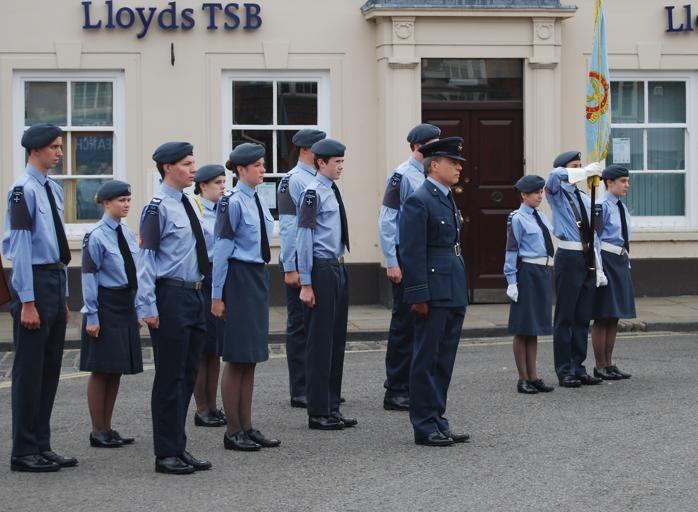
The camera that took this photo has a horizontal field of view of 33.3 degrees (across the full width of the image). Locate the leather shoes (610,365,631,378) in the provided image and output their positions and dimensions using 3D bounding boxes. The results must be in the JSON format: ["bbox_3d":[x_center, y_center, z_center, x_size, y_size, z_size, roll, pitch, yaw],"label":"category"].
[{"bbox_3d":[2.945,1.244,12.746,0.095,0.118,0.275,-4,8,-38],"label":"leather shoes"}]

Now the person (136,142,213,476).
[{"bbox_3d":[-1.514,0.426,10.157,0.607,2.786,0.735,-2,8,-6],"label":"person"}]

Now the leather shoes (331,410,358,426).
[{"bbox_3d":[-0.042,1.566,11.334,0.304,0.138,0.103,2,4,3],"label":"leather shoes"}]

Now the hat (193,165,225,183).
[{"bbox_3d":[-1.379,-0.829,11.573,0.237,0.075,0.210,-13,9,-15],"label":"hat"}]

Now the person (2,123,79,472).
[{"bbox_3d":[-2.718,0.350,10.163,0.593,2.942,0.638,-3,8,-13],"label":"person"}]

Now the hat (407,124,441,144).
[{"bbox_3d":[0.736,-1.234,11.806,0.223,0.097,0.251,-15,8,-37],"label":"hat"}]

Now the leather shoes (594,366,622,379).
[{"bbox_3d":[2.812,1.253,12.672,0.282,0.110,0.109,3,3,8],"label":"leather shoes"}]

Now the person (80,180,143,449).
[{"bbox_3d":[-2.228,0.523,10.819,0.567,2.380,0.610,-3,8,-12],"label":"person"}]

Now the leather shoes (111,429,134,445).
[{"bbox_3d":[-2.096,1.665,10.828,0.265,0.110,0.089,1,5,-1],"label":"leather shoes"}]

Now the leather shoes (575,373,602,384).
[{"bbox_3d":[2.575,1.305,12.543,0.285,0.124,0.103,0,5,4],"label":"leather shoes"}]

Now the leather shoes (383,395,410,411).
[{"bbox_3d":[0.484,1.489,11.901,0.239,0.099,0.125,-4,-1,19],"label":"leather shoes"}]

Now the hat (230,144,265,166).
[{"bbox_3d":[-0.922,-0.983,10.815,0.212,0.083,0.260,8,27,41],"label":"hat"}]

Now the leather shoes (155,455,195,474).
[{"bbox_3d":[-1.501,1.783,10.070,0.271,0.113,0.147,-1,-2,14],"label":"leather shoes"}]

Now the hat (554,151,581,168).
[{"bbox_3d":[2.381,-1.064,12.759,0.252,0.092,0.237,-14,5,14],"label":"hat"}]

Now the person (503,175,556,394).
[{"bbox_3d":[1.901,0.279,12.337,0.517,2.218,0.671,0,8,9],"label":"person"}]

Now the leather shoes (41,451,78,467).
[{"bbox_3d":[-2.525,1.764,10.233,0.318,0.124,0.122,6,8,-4],"label":"leather shoes"}]

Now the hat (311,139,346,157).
[{"bbox_3d":[-0.218,-1.054,11.379,0.281,0.109,0.302,-2,11,-15],"label":"hat"}]

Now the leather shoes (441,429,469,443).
[{"bbox_3d":[0.980,1.631,10.692,0.271,0.111,0.099,-1,5,-12],"label":"leather shoes"}]

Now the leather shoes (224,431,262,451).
[{"bbox_3d":[-0.969,1.671,10.651,0.295,0.125,0.150,1,0,17],"label":"leather shoes"}]

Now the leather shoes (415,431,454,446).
[{"bbox_3d":[0.773,1.657,10.656,0.308,0.128,0.142,-2,-2,10],"label":"leather shoes"}]

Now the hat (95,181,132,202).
[{"bbox_3d":[-2.216,-0.608,10.826,0.220,0.097,0.247,-8,6,-44],"label":"hat"}]

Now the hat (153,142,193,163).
[{"bbox_3d":[-1.534,-0.916,10.224,0.249,0.085,0.213,-20,16,-15],"label":"hat"}]

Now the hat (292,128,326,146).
[{"bbox_3d":[-0.405,-1.196,11.801,0.246,0.098,0.195,1,10,14],"label":"hat"}]

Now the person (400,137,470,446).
[{"bbox_3d":[0.776,0.308,10.672,0.610,2.747,0.597,-1,8,2],"label":"person"}]

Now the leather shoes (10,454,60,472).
[{"bbox_3d":[-2.711,1.785,10.092,0.391,0.161,0.166,0,-2,0],"label":"leather shoes"}]

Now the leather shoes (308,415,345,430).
[{"bbox_3d":[-0.223,1.575,11.218,0.282,0.104,0.142,0,1,5],"label":"leather shoes"}]

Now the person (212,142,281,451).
[{"bbox_3d":[-0.972,0.355,10.718,0.578,2.713,0.727,-2,8,-5],"label":"person"}]

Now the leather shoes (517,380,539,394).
[{"bbox_3d":[1.872,1.352,12.206,0.201,0.085,0.112,4,10,33],"label":"leather shoes"}]

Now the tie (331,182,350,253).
[{"bbox_3d":[-0.076,-0.361,11.497,0.116,0.784,0.079,-8,4,5],"label":"tie"}]

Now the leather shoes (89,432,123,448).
[{"bbox_3d":[-2.259,1.688,10.771,0.327,0.135,0.116,0,-5,5],"label":"leather shoes"}]

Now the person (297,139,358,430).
[{"bbox_3d":[-0.246,0.263,11.290,0.483,2.719,0.600,-1,8,-1],"label":"person"}]

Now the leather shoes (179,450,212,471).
[{"bbox_3d":[-1.314,1.768,10.161,0.322,0.126,0.117,19,10,-14],"label":"leather shoes"}]

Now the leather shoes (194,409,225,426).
[{"bbox_3d":[-1.375,1.587,11.511,0.260,0.099,0.136,-4,-3,20],"label":"leather shoes"}]

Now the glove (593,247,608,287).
[{"bbox_3d":[2.698,0.115,12.586,0.095,0.358,0.256,-6,-4,15],"label":"glove"}]

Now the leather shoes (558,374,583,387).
[{"bbox_3d":[2.391,1.317,12.453,0.215,0.094,0.107,-6,7,-43],"label":"leather shoes"}]

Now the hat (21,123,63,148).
[{"bbox_3d":[-2.687,-0.996,10.167,0.253,0.076,0.248,-16,17,18],"label":"hat"}]

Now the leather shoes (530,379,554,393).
[{"bbox_3d":[2.019,1.354,12.299,0.300,0.125,0.103,4,6,0],"label":"leather shoes"}]

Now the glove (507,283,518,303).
[{"bbox_3d":[1.729,0.376,12.327,0.095,0.210,0.173,-1,9,3],"label":"glove"}]

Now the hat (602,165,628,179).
[{"bbox_3d":[2.956,-0.934,12.986,0.260,0.134,0.193,-1,6,17],"label":"hat"}]

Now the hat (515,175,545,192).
[{"bbox_3d":[1.926,-0.771,12.352,0.239,0.080,0.181,-11,18,-2],"label":"hat"}]

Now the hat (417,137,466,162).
[{"bbox_3d":[0.827,-0.990,10.713,0.306,0.127,0.262,4,4,28],"label":"hat"}]
